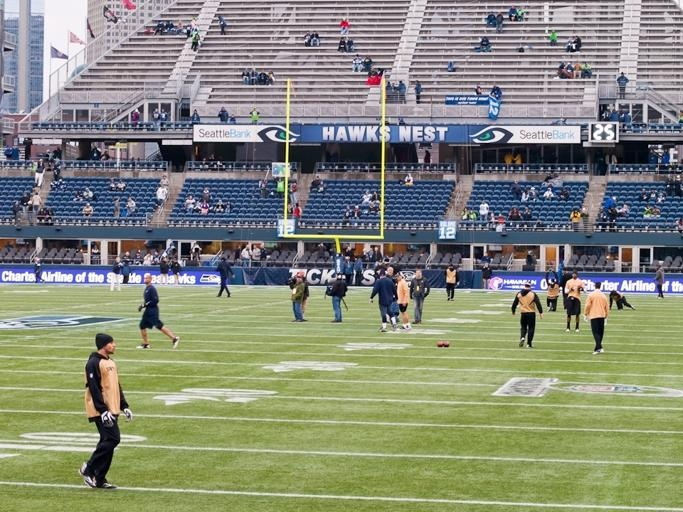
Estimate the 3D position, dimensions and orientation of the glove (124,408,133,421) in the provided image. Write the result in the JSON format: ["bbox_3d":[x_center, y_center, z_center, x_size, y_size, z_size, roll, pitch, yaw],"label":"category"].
[{"bbox_3d":[-5.459,4.029,44.461,0.219,0.251,0.590,-4,3,-7],"label":"glove"}]

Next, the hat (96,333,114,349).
[{"bbox_3d":[-6.037,2.170,44.147,0.432,0.341,0.327,-1,3,-15],"label":"hat"}]

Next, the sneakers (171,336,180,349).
[{"bbox_3d":[-5.153,2.698,53.887,0.156,0.194,0.447,-2,-15,-12],"label":"sneakers"}]

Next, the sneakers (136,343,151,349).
[{"bbox_3d":[-6.163,2.809,53.839,0.370,0.157,0.171,2,-2,39],"label":"sneakers"}]

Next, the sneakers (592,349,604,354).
[{"bbox_3d":[7.900,2.938,53.499,0.134,0.148,0.361,2,10,22],"label":"sneakers"}]

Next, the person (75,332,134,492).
[{"bbox_3d":[-6.029,3.931,43.941,1.029,3.909,0.534,2,-2,-9],"label":"person"}]
